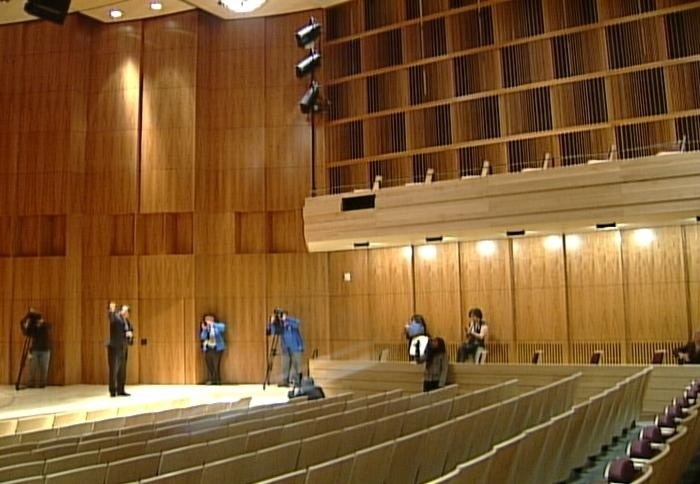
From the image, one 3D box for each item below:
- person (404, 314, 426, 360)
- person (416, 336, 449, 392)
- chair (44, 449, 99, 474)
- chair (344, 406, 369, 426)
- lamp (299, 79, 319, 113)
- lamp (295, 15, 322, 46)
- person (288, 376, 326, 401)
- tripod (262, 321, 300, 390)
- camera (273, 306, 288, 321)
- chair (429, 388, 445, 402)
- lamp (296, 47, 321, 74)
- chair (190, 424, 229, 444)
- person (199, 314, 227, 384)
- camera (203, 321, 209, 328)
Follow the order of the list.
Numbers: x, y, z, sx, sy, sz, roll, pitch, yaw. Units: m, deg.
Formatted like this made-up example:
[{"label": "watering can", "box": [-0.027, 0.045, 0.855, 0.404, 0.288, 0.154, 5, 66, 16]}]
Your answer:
[{"label": "person", "box": [1.698, 2.475, 16.907, 0.440, 0.404, 1.331, -13, 27, 13]}, {"label": "person", "box": [1.923, 2.776, 14.659, 0.587, 1.208, 1.066, -1, 11, 7]}, {"label": "chair", "box": [-3.921, 3.005, 9.185, 0.484, 0.351, 0.180, 1, 6, -45]}, {"label": "chair", "box": [0.107, 2.819, 10.813, 0.210, 0.298, 0.398, -10, -11, 41]}, {"label": "lamp", "box": [-1.187, -4.330, 19.473, 0.421, 0.950, 1.086, -1, 11, 9]}, {"label": "lamp", "box": [-1.282, -6.181, 19.124, 0.346, 0.610, 1.020, 19, 50, 42]}, {"label": "person", "box": [-1.161, 3.783, 16.528, 0.739, 0.800, 0.780, -16, -23, 39]}, {"label": "tripod", "box": [-1.899, 3.106, 18.573, 1.157, 2.139, 1.633, -4, 11, -8]}, {"label": "camera", "box": [-1.942, 2.007, 18.257, 0.336, 0.386, 0.352, 0, -7, -7]}, {"label": "chair", "box": [1.644, 2.907, 12.327, 0.200, 0.277, 0.193, -5, -8, 36]}, {"label": "lamp", "box": [-1.261, -5.428, 19.412, 0.794, 0.246, 0.564, -43, -8, -7]}, {"label": "chair", "box": [-2.178, 2.946, 10.169, 0.117, 0.199, 0.743, 2, -2, 40]}, {"label": "person", "box": [-3.955, 3.148, 19.192, 0.735, 2.014, 0.711, -7, 11, -23]}, {"label": "camera", "box": [-4.217, 2.427, 19.087, 0.186, 0.144, 0.092, -5, 11, -8]}]
